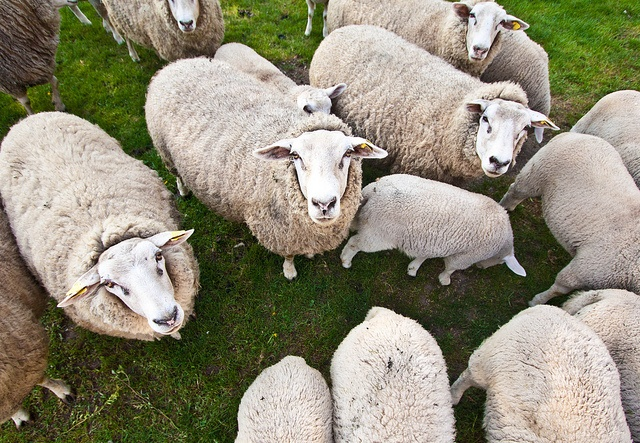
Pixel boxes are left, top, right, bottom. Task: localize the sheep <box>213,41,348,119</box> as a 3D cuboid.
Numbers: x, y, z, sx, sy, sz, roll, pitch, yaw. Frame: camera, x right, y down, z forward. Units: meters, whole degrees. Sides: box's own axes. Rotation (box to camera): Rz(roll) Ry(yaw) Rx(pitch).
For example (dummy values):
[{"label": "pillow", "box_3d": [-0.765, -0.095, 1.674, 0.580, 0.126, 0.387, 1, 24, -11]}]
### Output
[{"label": "sheep", "box_3d": [-0.786, -2.755, 12.198, 2.438, 1.274, 0.761, 32, 86, 14]}]
